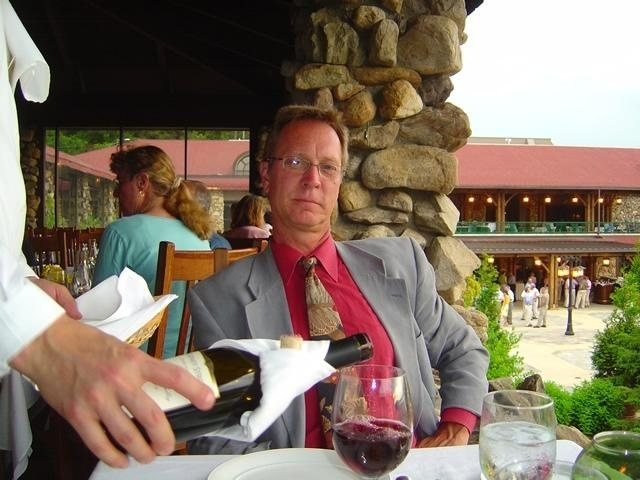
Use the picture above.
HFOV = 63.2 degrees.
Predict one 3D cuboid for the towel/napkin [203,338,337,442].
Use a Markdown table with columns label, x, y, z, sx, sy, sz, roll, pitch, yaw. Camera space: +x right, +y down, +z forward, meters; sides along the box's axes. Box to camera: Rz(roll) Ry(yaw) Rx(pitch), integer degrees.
| label | x | y | z | sx | sy | sz | roll | pitch | yaw |
| --- | --- | --- | --- | --- | --- | --- | --- | --- | --- |
| towel/napkin | -0.108 | 0.286 | 1.011 | 0.262 | 0.169 | 0.091 | -14 | -16 | -7 |

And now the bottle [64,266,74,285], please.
| label | x | y | z | sx | sy | sz | roll | pitch | yaw |
| --- | --- | --- | --- | --- | --- | --- | --- | --- | --- |
| bottle | -1.604 | 0.230 | 3.330 | 0.076 | 0.131 | 0.077 | 0 | 3 | 0 |

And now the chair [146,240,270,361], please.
| label | x | y | z | sx | sy | sz | roll | pitch | yaw |
| --- | --- | --- | --- | --- | --- | --- | --- | --- | --- |
| chair | -0.455 | 0.178 | 2.043 | 0.380 | 0.693 | 0.437 | 0 | 8 | -18 |
